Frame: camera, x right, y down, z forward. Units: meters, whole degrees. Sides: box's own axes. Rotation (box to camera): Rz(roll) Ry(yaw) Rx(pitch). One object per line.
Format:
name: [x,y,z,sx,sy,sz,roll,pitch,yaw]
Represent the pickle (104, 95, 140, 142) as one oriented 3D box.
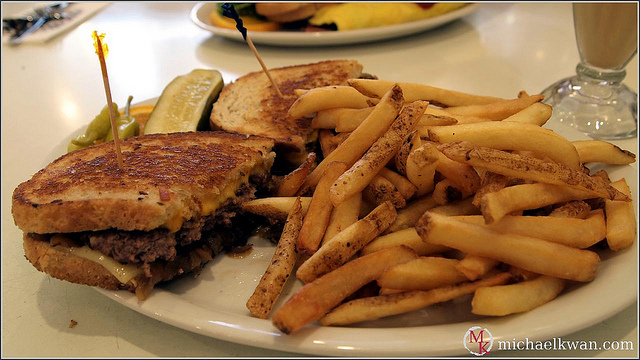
pickle: [-1.344,-0.436,3.480,0.260,0.231,0.309,-5,8,-7]
